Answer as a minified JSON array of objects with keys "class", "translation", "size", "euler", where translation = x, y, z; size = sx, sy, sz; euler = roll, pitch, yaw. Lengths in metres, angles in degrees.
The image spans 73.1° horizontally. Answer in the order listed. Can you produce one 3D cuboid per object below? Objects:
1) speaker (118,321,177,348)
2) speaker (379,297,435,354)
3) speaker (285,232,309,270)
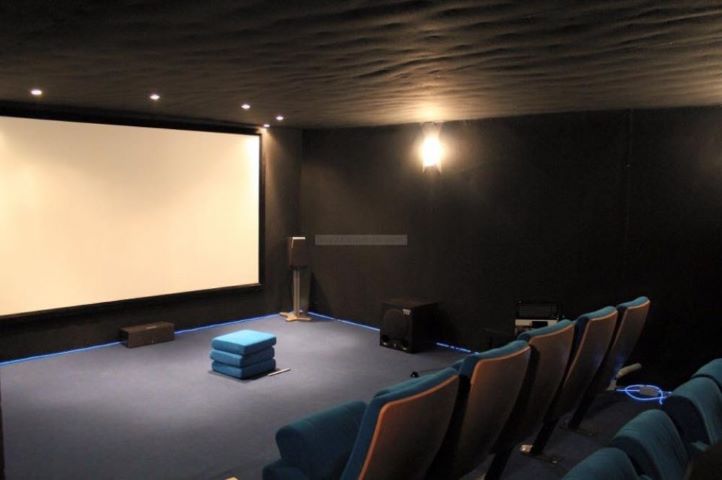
[{"class":"speaker","translation":[-3.123,1.385,7.132],"size":[0.663,0.250,0.365],"euler":[-7,12,-40]},{"class":"speaker","translation":[0.792,1.255,7.133],"size":[0.776,0.699,0.726],"euler":[-2,4,-29]},{"class":"speaker","translation":[-1.103,0.227,8.395],"size":[0.323,0.531,0.264],"euler":[1,11,3]}]
